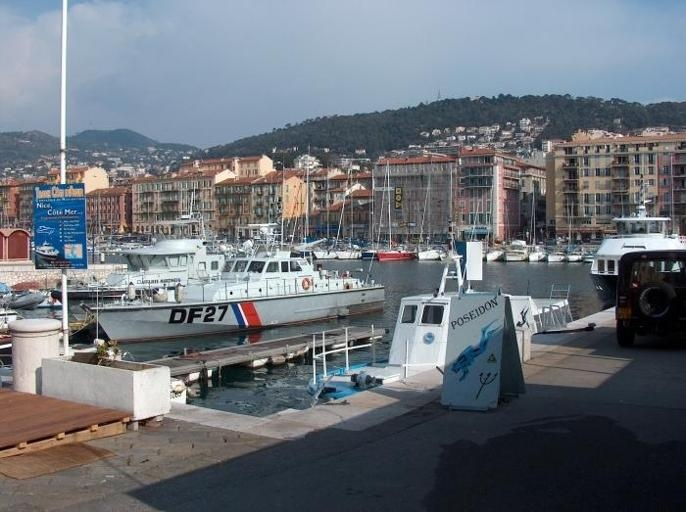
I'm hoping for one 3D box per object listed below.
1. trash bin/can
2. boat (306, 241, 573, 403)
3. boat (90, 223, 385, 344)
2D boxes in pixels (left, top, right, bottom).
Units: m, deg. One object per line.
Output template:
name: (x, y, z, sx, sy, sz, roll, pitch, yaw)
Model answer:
trash bin/can: (-5.445, 1.782, 13.119, 0.808, 1.243, 0.433, -4, 3, -24)
boat: (4.351, 1.508, 18.688, 10.426, 4.786, 3.095, -2, 1, -41)
boat: (-4.224, 1.433, 31.280, 3.659, 3.575, 12.134, 0, -2, 43)
